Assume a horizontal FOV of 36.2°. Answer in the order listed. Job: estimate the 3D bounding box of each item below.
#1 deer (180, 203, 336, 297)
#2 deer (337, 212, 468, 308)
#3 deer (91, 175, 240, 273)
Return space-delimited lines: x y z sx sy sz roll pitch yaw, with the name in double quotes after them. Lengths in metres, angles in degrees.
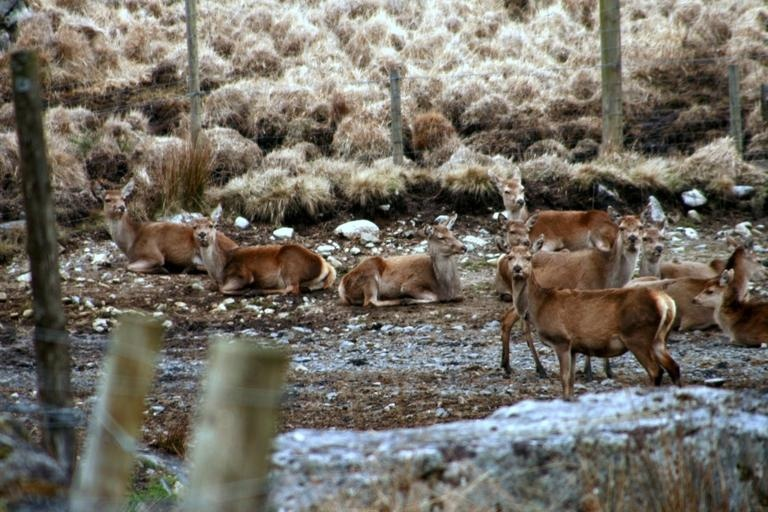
-2.157 0.032 20.021 2.445 1.401 0.885 6 3 -11 "deer"
-0.005 0.264 19.790 2.582 1.687 1.053 -5 0 9 "deer"
-3.937 -0.317 20.802 2.816 1.463 0.952 9 -5 -24 "deer"
